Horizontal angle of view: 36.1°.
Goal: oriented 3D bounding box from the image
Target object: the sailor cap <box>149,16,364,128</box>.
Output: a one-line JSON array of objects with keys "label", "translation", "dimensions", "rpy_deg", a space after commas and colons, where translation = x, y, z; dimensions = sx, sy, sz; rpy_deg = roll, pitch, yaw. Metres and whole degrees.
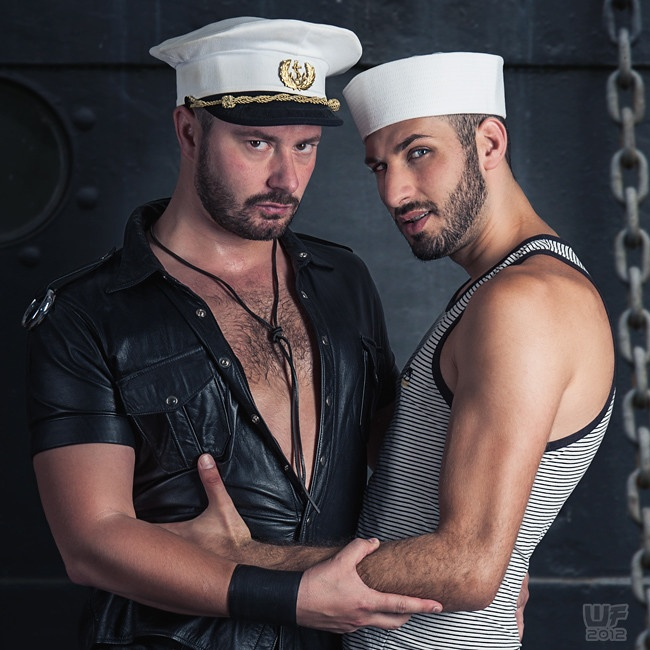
[{"label": "sailor cap", "translation": [-0.155, -0.629, 2.462], "dimensions": [0.364, 0.148, 0.387], "rpy_deg": [-3, 9, -36]}]

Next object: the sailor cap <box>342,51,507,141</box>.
[{"label": "sailor cap", "translation": [0.248, -0.556, 2.405], "dimensions": [0.275, 0.095, 0.227], "rpy_deg": [-3, -4, 1]}]

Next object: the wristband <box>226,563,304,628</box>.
[{"label": "wristband", "translation": [-0.129, 0.580, 2.133], "dimensions": [0.164, 0.116, 0.138], "rpy_deg": [5, 55, -1]}]
